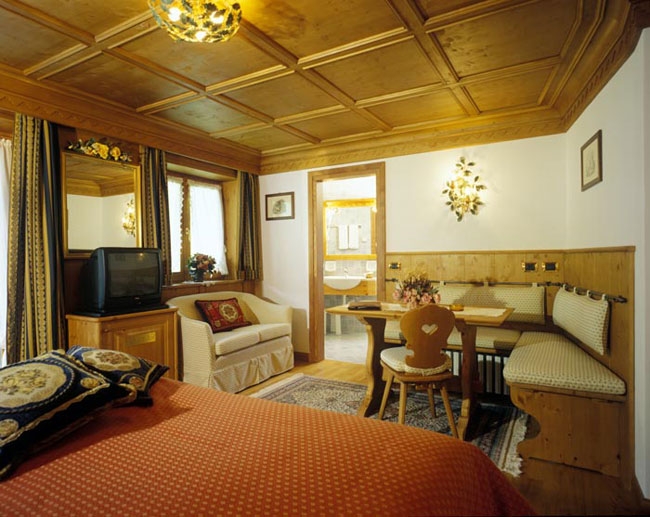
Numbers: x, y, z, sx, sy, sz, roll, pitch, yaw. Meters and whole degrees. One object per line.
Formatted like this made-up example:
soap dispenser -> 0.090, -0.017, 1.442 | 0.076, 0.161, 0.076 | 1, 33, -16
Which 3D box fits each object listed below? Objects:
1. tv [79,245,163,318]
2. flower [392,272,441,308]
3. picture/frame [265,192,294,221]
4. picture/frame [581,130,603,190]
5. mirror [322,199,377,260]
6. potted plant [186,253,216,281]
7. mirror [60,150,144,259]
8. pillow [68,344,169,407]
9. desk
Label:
tv -> -1.995, 0.198, 4.284 | 0.599, 0.728, 0.827 | -2, -3, 28
flower -> 0.866, 0.261, 3.884 | 0.324, 0.265, 0.407 | 3, 4, 44
picture/frame -> -0.685, -0.740, 6.083 | 0.441, 0.348, 0.033 | 3, 4, 32
picture/frame -> 2.254, -0.815, 3.551 | 0.042, 0.553, 0.624 | 2, 0, 21
mirror -> 0.434, -0.519, 7.555 | 1.162, 1.236, 0.112 | 0, 0, 24
potted plant -> -1.683, 0.118, 5.524 | 0.344, 0.372, 0.432 | -3, 10, -19
mirror -> -2.459, -0.436, 4.568 | 0.761, 1.018, 1.120 | -2, -2, 29
pillow -> -1.137, 0.566, 2.257 | 0.355, 0.104, 0.325 | 21, 4, 12
desk -> 0.997, 0.809, 3.997 | 1.889, 1.168, 1.026 | -2, -7, 25
